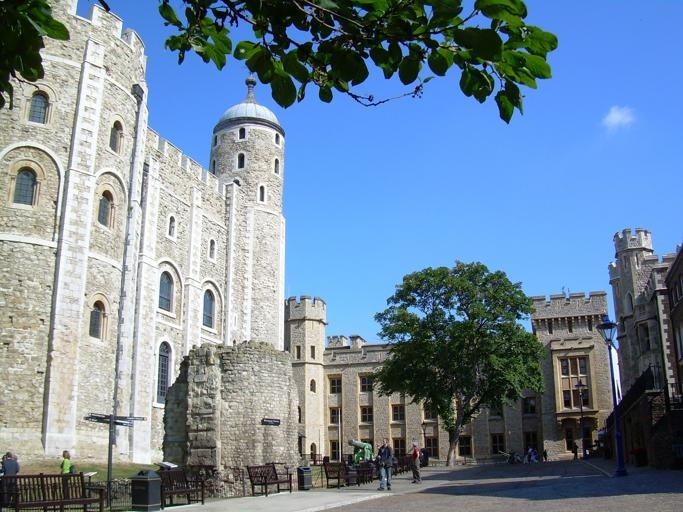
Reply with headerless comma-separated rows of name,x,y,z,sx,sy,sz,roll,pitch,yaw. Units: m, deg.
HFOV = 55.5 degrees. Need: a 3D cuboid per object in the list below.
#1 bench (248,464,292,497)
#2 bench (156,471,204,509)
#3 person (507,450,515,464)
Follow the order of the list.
bench,-2.488,7.608,21.894,0.608,0.926,1.490,-13,-20,28
bench,-4.655,6.698,18.451,0.682,1.115,1.745,-12,-25,20
person,12.922,15.288,49.304,0.543,0.846,1.256,-7,-20,13
